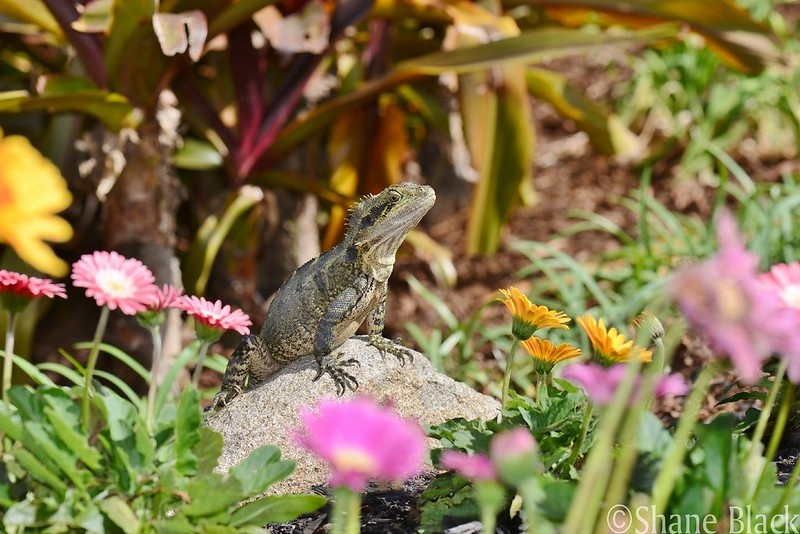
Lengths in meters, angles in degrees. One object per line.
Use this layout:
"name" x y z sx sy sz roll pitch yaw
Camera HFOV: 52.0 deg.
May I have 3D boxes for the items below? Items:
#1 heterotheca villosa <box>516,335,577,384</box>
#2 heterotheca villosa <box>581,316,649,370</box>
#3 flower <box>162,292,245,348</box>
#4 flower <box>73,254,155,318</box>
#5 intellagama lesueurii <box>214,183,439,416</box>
"heterotheca villosa" 0.664 0.393 3.707 0.218 0.222 0.115 23 75 -11
"heterotheca villosa" 0.875 0.312 3.494 0.245 0.238 0.111 40 84 17
"flower" -0.869 0.242 3.735 0.354 0.146 0.360 18 5 38
"flower" -1.191 0.046 3.351 0.361 0.120 0.344 16 26 -14
"intellagama lesueurii" -0.472 0.154 4.591 1.493 1.044 0.826 -5 5 23
